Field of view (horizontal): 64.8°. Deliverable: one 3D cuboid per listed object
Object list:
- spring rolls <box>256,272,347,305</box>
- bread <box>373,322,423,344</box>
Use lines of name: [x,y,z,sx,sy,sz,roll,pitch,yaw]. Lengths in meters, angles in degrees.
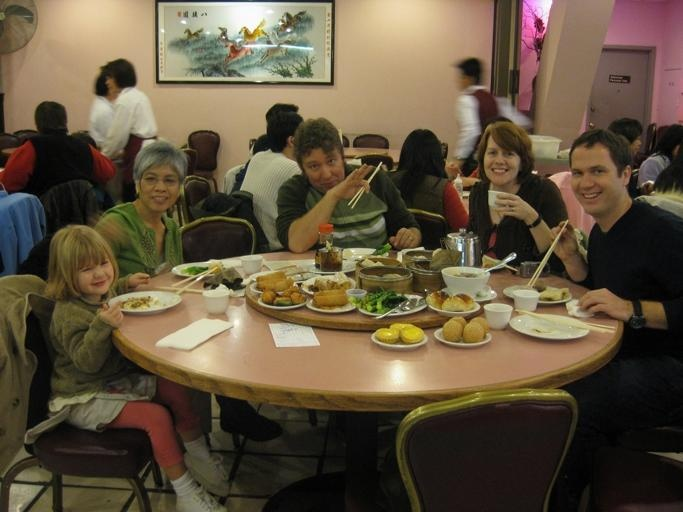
spring rolls: [-0.127,0.082,1.872,0.332,0.090,0.279,-3,12,-26]
bread: [0.166,0.224,1.565,0.088,0.024,0.070,-1,15,18]
